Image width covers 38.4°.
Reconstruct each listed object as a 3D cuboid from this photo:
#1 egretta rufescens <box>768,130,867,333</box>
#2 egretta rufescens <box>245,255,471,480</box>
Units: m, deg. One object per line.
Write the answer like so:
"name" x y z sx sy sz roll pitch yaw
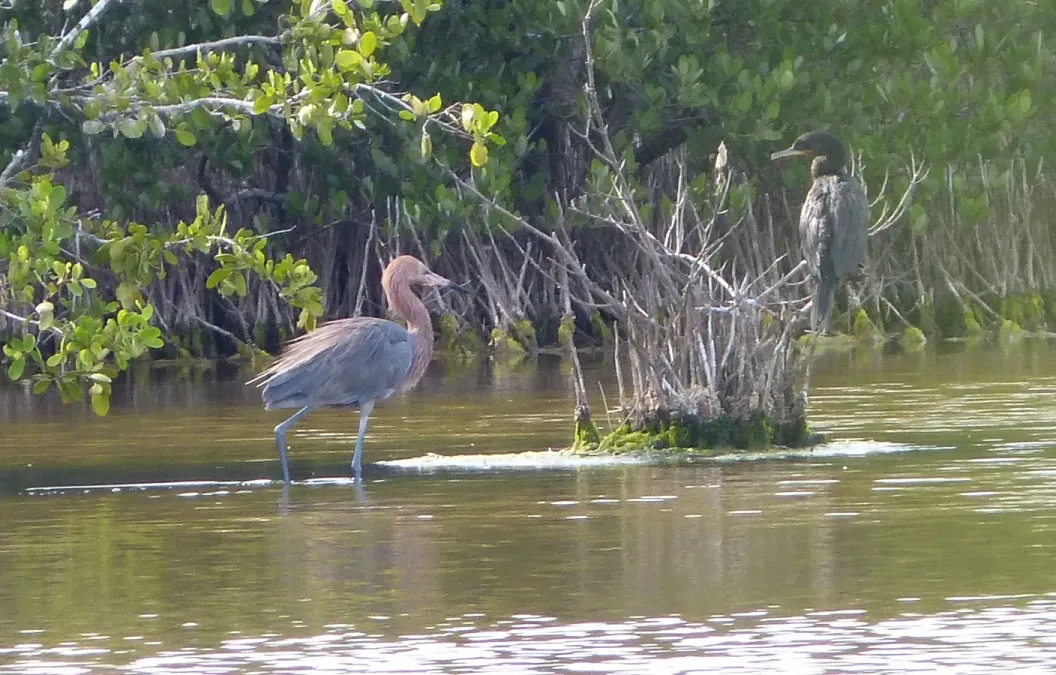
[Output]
"egretta rufescens" 2.278 -0.830 11.119 0.663 1.427 0.931 -7 -22 34
"egretta rufescens" -1.216 0.180 10.971 1.780 1.490 0.609 -3 5 -43
